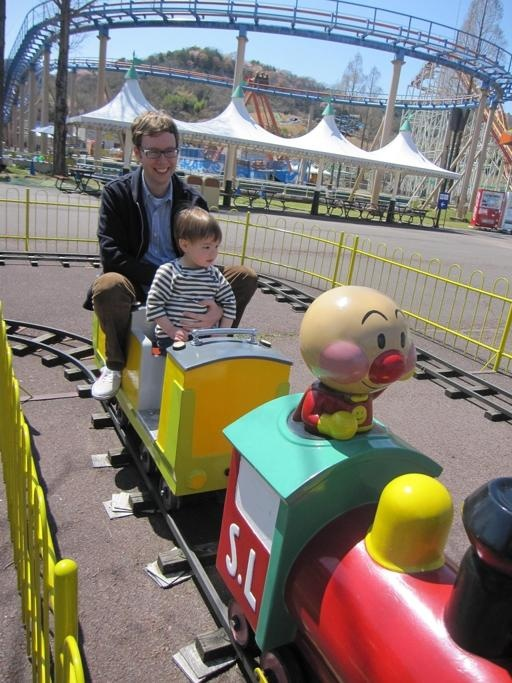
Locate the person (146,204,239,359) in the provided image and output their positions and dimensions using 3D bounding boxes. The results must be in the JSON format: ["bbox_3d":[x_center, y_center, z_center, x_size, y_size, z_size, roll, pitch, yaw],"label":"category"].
[{"bbox_3d":[-0.299,-0.302,2.577,0.504,0.734,0.481,-9,26,-40],"label":"person"}]

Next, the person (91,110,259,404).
[{"bbox_3d":[-0.584,-0.534,2.973,1.038,1.444,1.105,23,28,34],"label":"person"}]

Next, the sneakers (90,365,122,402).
[{"bbox_3d":[-0.900,0.245,2.958,0.159,0.232,0.240,-6,23,-36],"label":"sneakers"}]
